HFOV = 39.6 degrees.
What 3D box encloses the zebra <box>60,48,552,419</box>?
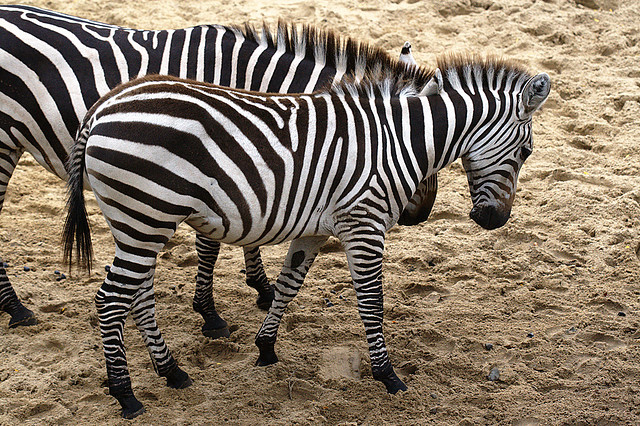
[{"bbox_3d":[-0.243,0.151,7.783,3.833,2.986,1.153,-1,30,-17],"label":"zebra"}]
